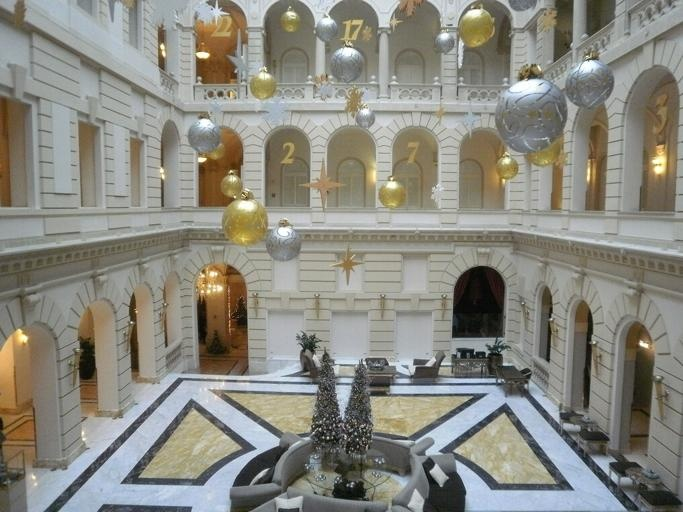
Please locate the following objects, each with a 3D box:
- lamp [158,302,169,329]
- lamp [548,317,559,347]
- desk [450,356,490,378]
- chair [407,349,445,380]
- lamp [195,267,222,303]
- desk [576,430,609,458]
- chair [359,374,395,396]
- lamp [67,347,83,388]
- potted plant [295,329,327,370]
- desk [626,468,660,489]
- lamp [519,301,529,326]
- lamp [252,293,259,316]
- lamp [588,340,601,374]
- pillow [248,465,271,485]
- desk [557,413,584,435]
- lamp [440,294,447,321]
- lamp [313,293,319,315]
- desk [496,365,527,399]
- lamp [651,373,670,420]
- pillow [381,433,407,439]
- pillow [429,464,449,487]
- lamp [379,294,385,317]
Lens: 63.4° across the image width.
[{"bbox_3d":[-6.325,2.081,19.585,0.293,0.331,0.945,16,-28,-9],"label":"lamp"},{"bbox_3d":[6.751,2.381,17.637,0.203,0.955,0.471,2,-7,6],"label":"lamp"},{"bbox_3d":[4.655,4.130,20.285,0.757,0.547,0.830,0,-1,0],"label":"desk"},{"bbox_3d":[2.947,3.928,19.585,0.995,0.886,0.971,-1,0,2],"label":"chair"},{"bbox_3d":[-5.192,1.130,21.759,1.036,1.908,1.137,0,0,1],"label":"lamp"},{"bbox_3d":[6.792,5.033,14.865,0.610,0.611,0.666,-1,-4,17],"label":"desk"},{"bbox_3d":[1.290,4.357,18.631,0.747,0.671,0.536,3,-7,1],"label":"chair"},{"bbox_3d":[-7.062,2.955,14.650,0.285,1.045,0.602,6,-8,-26],"label":"lamp"},{"bbox_3d":[-1.150,3.587,20.555,1.002,1.693,1.202,-1,6,-12],"label":"potted plant"},{"bbox_3d":[7.199,5.327,13.152,0.636,0.434,0.451,6,-8,-17],"label":"desk"},{"bbox_3d":[6.674,2.049,20.133,0.171,0.836,0.570,2,-7,5],"label":"lamp"},{"bbox_3d":[-3.291,1.866,21.254,0.235,0.863,0.107,5,-7,-19],"label":"lamp"},{"bbox_3d":[7.102,2.831,15.527,0.165,1.053,0.374,4,-7,-11],"label":"lamp"},{"bbox_3d":[-1.950,5.156,13.206,0.407,0.117,0.411,-38,-2,41],"label":"pillow"},{"bbox_3d":[6.559,4.799,15.847,0.665,0.579,1.120,0,-8,21],"label":"desk"},{"bbox_3d":[3.935,1.971,21.281,0.242,0.967,0.212,2,-7,3],"label":"lamp"},{"bbox_3d":[-0.941,1.863,21.216,0.192,0.860,0.195,2,-7,5],"label":"lamp"},{"bbox_3d":[5.655,4.511,18.426,0.575,0.584,1.615,1,4,4],"label":"desk"},{"bbox_3d":[7.526,3.370,13.196,0.284,1.042,0.441,3,-7,-5],"label":"lamp"},{"bbox_3d":[1.471,5.048,15.439,0.387,0.114,0.393,0,-9,8],"label":"pillow"},{"bbox_3d":[2.306,5.231,13.160,0.127,0.426,0.432,-37,-10,34],"label":"pillow"},{"bbox_3d":[1.558,1.911,21.218,0.227,0.863,0.239,2,-7,11],"label":"lamp"}]
